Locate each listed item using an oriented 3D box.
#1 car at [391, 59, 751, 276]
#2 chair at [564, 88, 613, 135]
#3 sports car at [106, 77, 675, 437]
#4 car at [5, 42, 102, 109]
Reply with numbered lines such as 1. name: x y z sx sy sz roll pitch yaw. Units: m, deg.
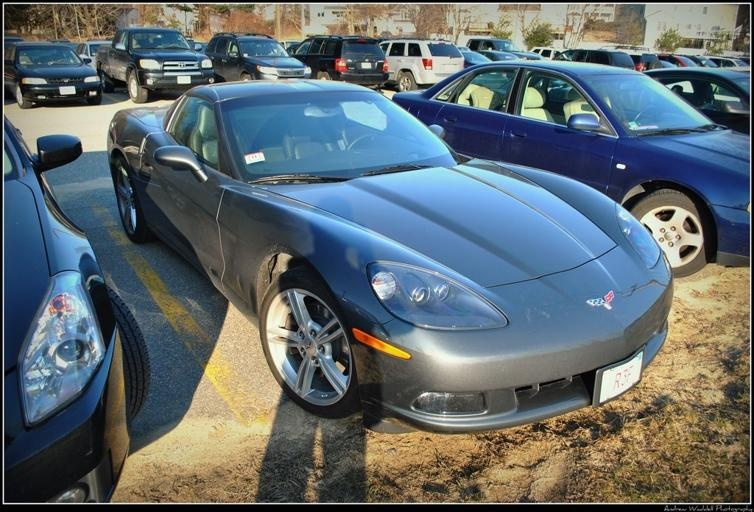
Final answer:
1. car: 2.124 -1.412 6.149 2.102 1.537 4.773 -17 28 -40
2. chair: 2.298 -1.659 5.366 0.348 0.480 0.472 -1 15 22
3. sports car: -0.332 -0.219 3.536 2.252 1.133 3.930 -17 30 -39
4. car: -8.931 -5.022 13.065 1.830 1.745 2.092 -19 25 -38
